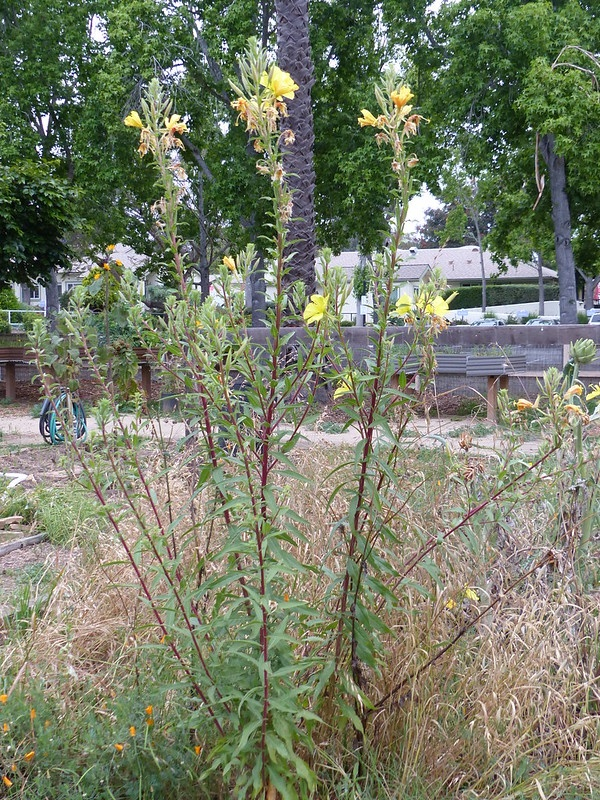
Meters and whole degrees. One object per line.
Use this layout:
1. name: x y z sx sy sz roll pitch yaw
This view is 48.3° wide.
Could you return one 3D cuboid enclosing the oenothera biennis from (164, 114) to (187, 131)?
1. oenothera biennis: -0.277 -0.612 1.484 0.039 0.043 0.074 -3 7 -14
